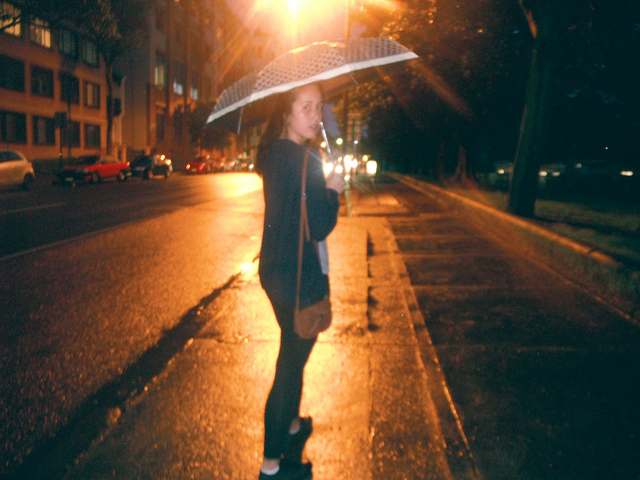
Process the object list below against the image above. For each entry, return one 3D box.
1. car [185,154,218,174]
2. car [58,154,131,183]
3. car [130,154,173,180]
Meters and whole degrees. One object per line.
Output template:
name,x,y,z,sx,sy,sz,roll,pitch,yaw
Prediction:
car,-11.245,-6.933,49.440,1.582,1.470,3.604,4,13,15
car,-12.170,-3.497,28.119,1.513,1.513,4.088,5,12,12
car,-12.041,-5.095,36.589,1.463,1.484,2.881,2,12,15
